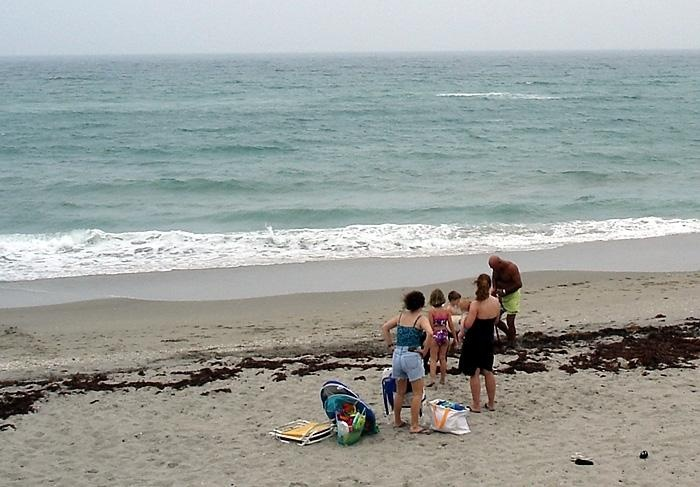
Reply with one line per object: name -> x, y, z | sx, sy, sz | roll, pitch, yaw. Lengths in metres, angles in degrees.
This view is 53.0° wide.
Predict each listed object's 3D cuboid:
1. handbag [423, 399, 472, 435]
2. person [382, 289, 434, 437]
handbag -> 1.689, 3.038, 12.316 | 0.946, 0.482, 0.542 | 0, -2, 17
person -> 1.024, 2.066, 12.281 | 0.810, 2.485, 0.638 | -5, 14, 1
